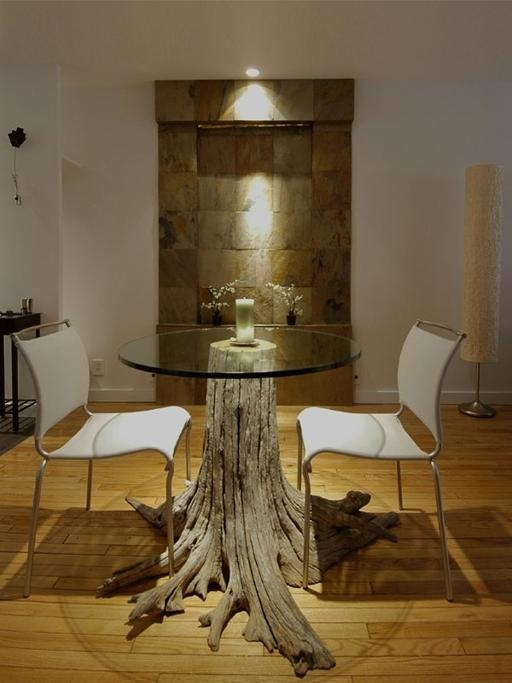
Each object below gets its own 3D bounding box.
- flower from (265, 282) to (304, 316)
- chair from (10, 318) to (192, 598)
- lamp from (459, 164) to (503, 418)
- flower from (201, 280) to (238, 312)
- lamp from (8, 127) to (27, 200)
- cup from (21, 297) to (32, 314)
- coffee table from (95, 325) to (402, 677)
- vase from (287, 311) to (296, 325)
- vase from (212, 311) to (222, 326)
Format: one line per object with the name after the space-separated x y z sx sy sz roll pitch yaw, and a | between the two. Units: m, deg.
0.197 -0.290 3.975 0.249 0.223 0.114 0 11 0 | flower
-0.452 0.316 2.345 0.808 1.213 0.858 2 10 2 | chair
1.393 -0.473 3.607 0.274 1.192 0.181 6 12 30 | lamp
-0.255 -0.322 4.015 0.170 0.204 0.203 10 14 42 | flower
-1.498 -1.108 3.686 0.109 0.469 0.060 -3 11 -16 | lamp
-1.449 -0.225 3.679 0.059 0.090 0.120 -2 10 -12 | cup
-0.119 0.436 1.968 0.905 0.594 0.916 4 9 33 | coffee table
0.243 -0.160 3.913 0.085 0.089 0.082 1 -3 4 | vase
-0.252 -0.163 3.912 0.091 0.099 0.091 4 14 1 | vase
